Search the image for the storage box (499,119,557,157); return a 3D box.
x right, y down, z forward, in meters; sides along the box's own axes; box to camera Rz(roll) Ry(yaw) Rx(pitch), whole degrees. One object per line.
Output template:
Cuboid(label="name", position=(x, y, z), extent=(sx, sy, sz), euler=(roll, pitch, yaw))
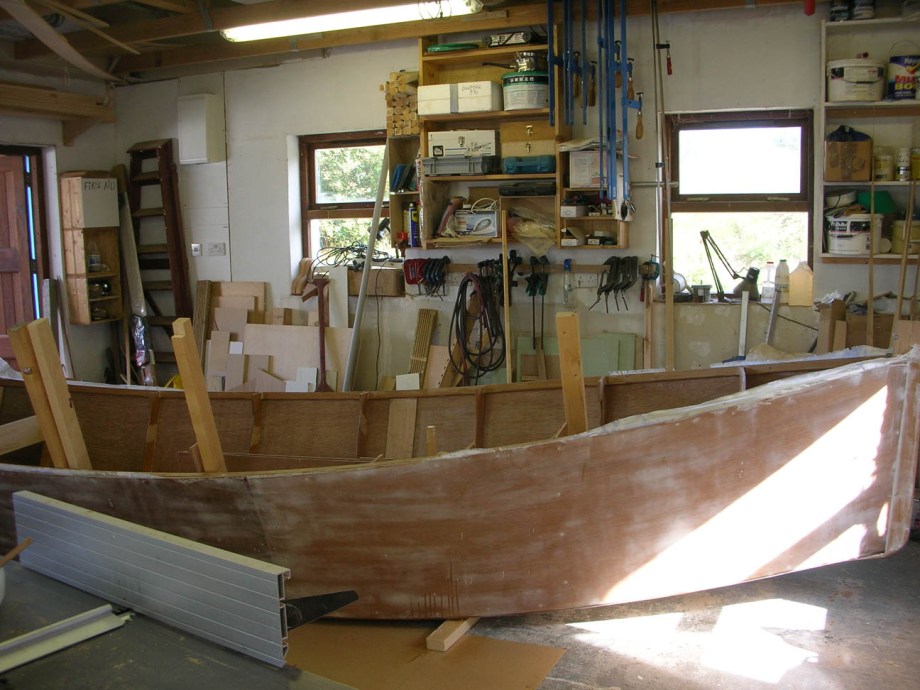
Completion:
Cuboid(label="storage box", position=(0.539, -1.647, 6.150), extent=(0.474, 0.275, 0.286), euler=(0, 2, 18))

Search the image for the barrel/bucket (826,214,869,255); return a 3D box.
Cuboid(label="barrel/bucket", position=(2.866, -0.812, 5.651), extent=(0.302, 0.279, 0.221), euler=(1, 6, 27))

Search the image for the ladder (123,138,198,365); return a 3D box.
Cuboid(label="ladder", position=(-3.181, -0.963, 8.066), extent=(0.774, 2.322, 0.298), euler=(4, 10, 38))

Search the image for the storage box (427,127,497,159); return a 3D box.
Cuboid(label="storage box", position=(0.025, -1.649, 6.284), extent=(0.400, 0.140, 0.277), euler=(2, 4, 18))

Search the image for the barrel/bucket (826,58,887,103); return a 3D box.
Cuboid(label="barrel/bucket", position=(2.899, -1.942, 5.616), extent=(0.408, 0.289, 0.390), euler=(-5, 22, 2))

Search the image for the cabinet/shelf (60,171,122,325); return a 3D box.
Cuboid(label="cabinet/shelf", position=(-3.762, -1.002, 7.907), extent=(0.348, 1.439, 0.469), euler=(3, 10, 28))
